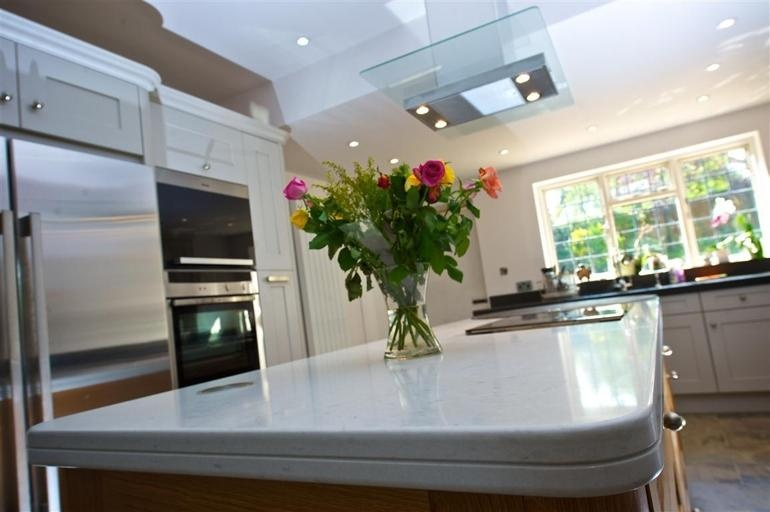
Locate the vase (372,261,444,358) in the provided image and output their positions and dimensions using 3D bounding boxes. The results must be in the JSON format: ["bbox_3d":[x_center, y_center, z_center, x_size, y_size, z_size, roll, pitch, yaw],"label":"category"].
[{"bbox_3d":[0.057,0.170,1.511,0.229,0.277,0.217,-5,-1,9],"label":"vase"}]

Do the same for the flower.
[{"bbox_3d":[0.049,0.030,1.574,0.736,0.649,0.635,-3,-22,-16],"label":"flower"}]

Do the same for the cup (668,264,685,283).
[{"bbox_3d":[3.126,0.197,4.950,0.238,0.218,0.118,-6,-2,-39],"label":"cup"}]

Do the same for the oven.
[{"bbox_3d":[-1.303,0.222,3.108,0.567,1.168,0.697,-7,-6,32],"label":"oven"}]
